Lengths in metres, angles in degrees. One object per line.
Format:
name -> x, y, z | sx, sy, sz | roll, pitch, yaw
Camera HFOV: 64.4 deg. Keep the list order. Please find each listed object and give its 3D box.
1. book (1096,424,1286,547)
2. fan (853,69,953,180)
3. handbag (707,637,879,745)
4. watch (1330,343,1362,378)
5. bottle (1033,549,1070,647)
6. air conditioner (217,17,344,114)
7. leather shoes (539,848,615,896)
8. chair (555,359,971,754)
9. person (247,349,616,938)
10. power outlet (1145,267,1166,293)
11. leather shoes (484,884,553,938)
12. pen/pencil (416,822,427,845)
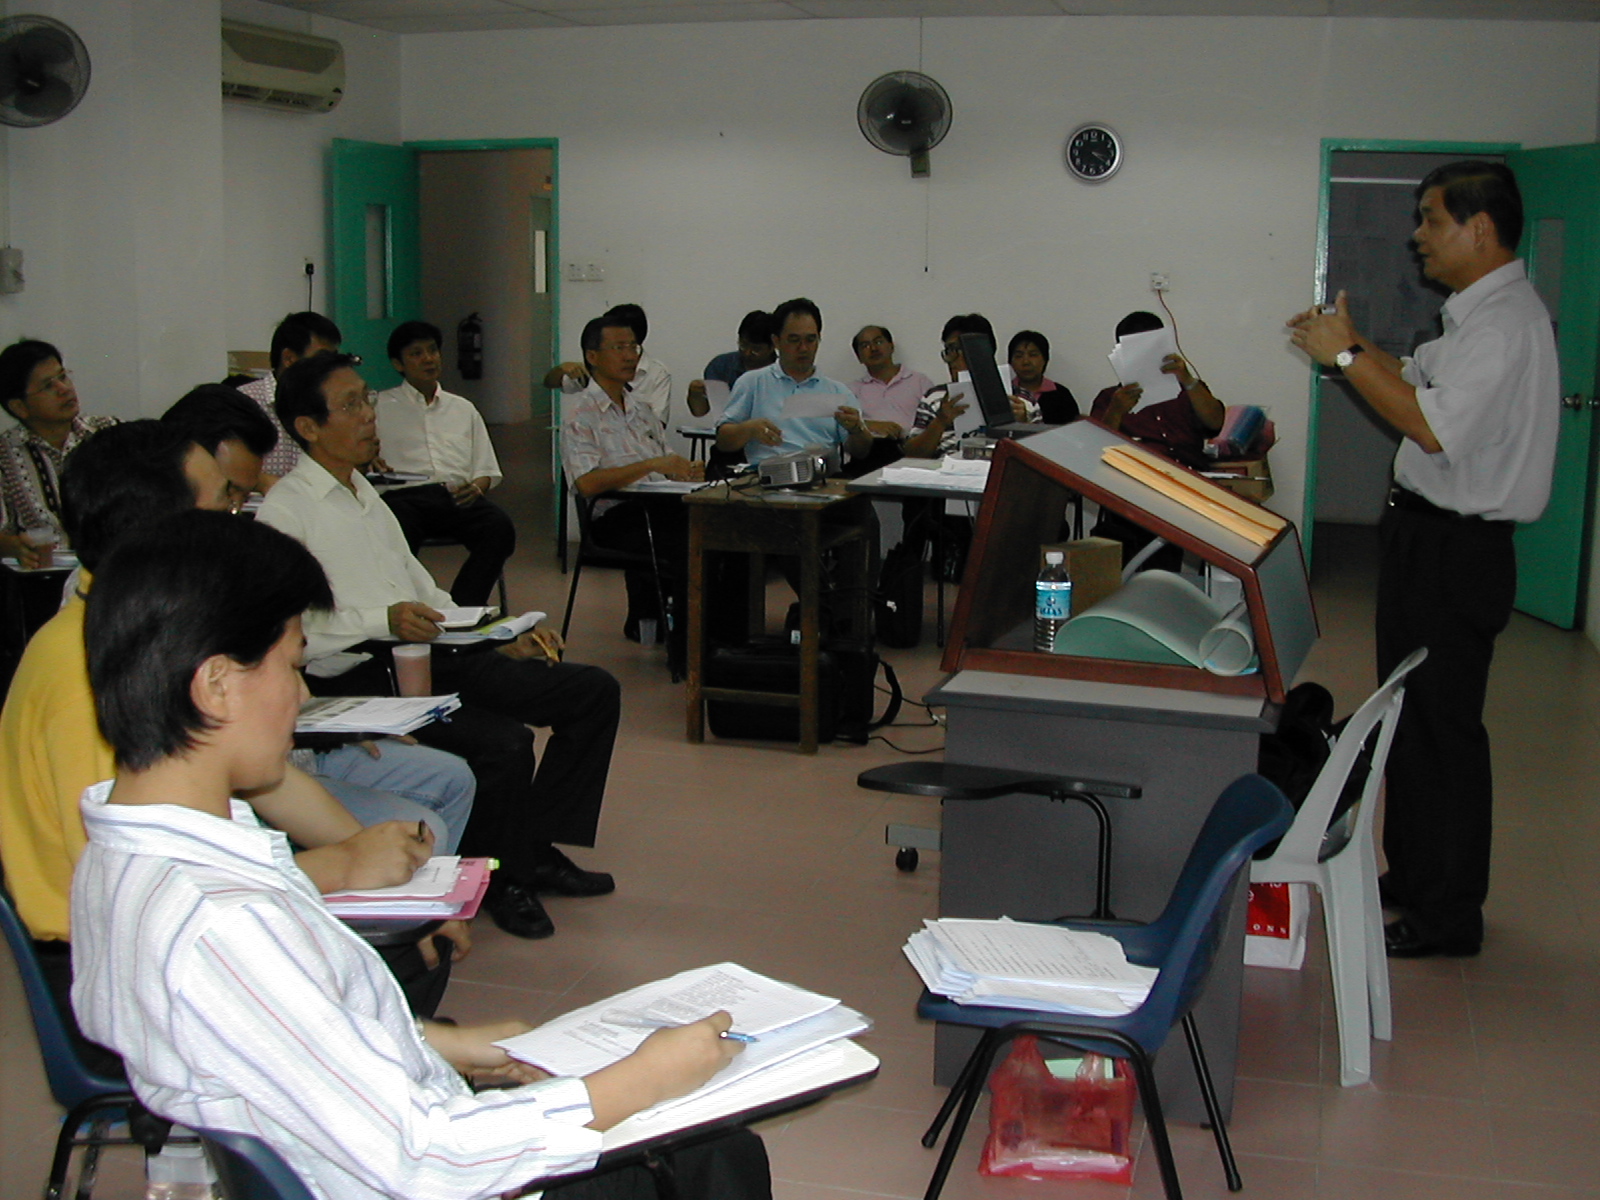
book -> 0.906, -0.247, 2.912 | 0.397, 0.221, 0.359 | 1, 10, 21
fan -> 0.687, -3.107, 8.221 | 0.610, 0.669, 0.337 | -1, 9, 6
handbag -> -0.031, 0.346, 5.007 | 0.547, 0.305, 0.403 | 2, 5, 8
watch -> 1.352, -0.594, 3.161 | 0.061, 0.064, 0.059 | 26, -43, -26
bottle -> 0.569, -0.003, 2.860 | 0.066, 0.203, 0.174 | 0, 9, 12
air conditioner -> -3.317, -3.392, 7.917 | 0.332, 0.512, 0.924 | 3, 10, 30
leather shoes -> -0.666, 0.814, 3.768 | 0.274, 0.126, 0.092 | 0, 11, -1
chair -> -0.205, -0.108, 5.347 | 0.814, 1.179, 1.679 | 2, 13, 9
person -> -0.989, 0.101, 3.552 | 0.815, 1.567, 0.617 | 3, 17, 12
power outlet -> 2.281, -2.056, 8.122 | 0.122, 0.122, 0.030 | 4, 6, 33
leather shoes -> -0.780, 0.853, 3.519 | 0.229, 0.090, 0.090 | 13, 22, 39
pen/pencil -> -0.601, 0.372, 2.005 | 0.009, 0.027, 0.018 | -4, -4, 42
